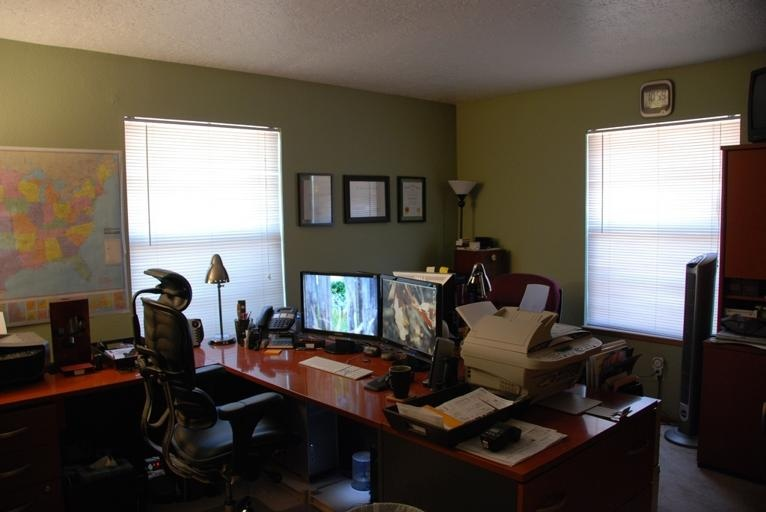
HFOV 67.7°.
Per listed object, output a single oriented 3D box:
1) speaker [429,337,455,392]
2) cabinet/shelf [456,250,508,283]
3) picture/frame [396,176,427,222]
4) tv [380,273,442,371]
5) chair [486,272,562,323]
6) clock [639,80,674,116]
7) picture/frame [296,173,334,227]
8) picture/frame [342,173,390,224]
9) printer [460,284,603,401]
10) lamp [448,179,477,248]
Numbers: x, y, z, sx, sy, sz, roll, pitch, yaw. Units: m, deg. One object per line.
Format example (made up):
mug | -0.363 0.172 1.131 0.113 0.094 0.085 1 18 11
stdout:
speaker | 0.366 0.686 3.562 0.149 0.336 0.348 1 2 17
cabinet/shelf | 1.089 0.082 6.264 0.402 0.281 0.398 -2 3 -43
picture/frame | 0.286 -0.641 6.292 0.552 0.610 0.064 0 2 -35
tv | 0.186 0.460 3.910 0.616 0.567 0.218 9 9 43
chair | 1.338 0.370 5.362 0.561 0.542 0.508 3 -3 28
clock | 2.533 -1.469 5.277 0.360 0.372 0.053 5 7 40
picture/frame | -0.662 -0.561 5.673 0.432 0.537 0.067 3 7 27
picture/frame | -0.168 -0.602 6.008 0.585 0.494 0.044 4 9 34
printer | 0.881 0.514 3.456 0.605 0.474 0.666 -7 8 -44
lamp | 0.897 -0.526 6.449 0.305 0.672 0.411 -1 6 7
